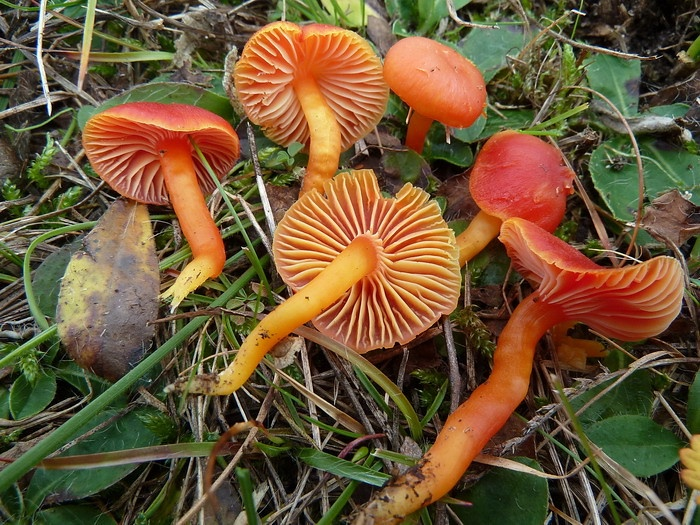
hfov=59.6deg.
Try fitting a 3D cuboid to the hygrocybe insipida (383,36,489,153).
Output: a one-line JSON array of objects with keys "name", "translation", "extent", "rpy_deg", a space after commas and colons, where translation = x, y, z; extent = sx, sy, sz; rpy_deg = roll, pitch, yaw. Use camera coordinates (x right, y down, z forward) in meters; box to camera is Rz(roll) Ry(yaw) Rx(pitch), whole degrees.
[{"name": "hygrocybe insipida", "translation": [0.463, -0.997, 3.281], "extent": [0.571, 0.222, 0.441], "rpy_deg": [14, 59, 2]}]
